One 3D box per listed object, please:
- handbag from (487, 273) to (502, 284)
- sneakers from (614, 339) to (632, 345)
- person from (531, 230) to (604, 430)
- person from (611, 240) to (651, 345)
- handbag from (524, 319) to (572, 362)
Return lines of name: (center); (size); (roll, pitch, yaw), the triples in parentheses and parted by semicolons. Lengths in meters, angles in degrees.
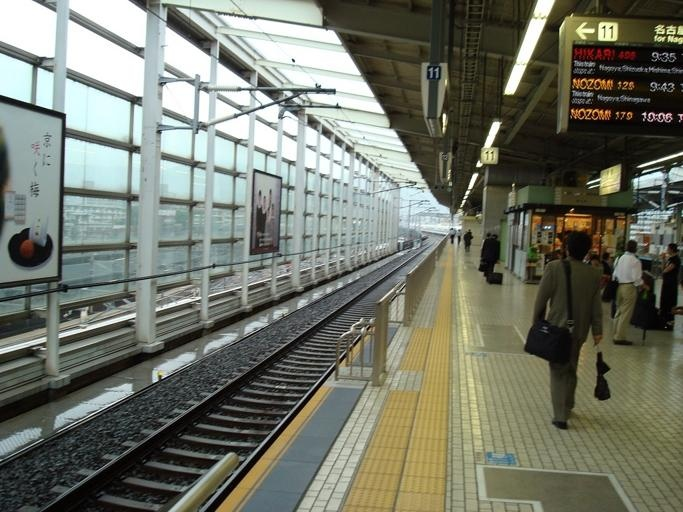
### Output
handbag: (6.215, 0.897, 19.175); (0.538, 0.461, 0.439); (2, 5, 11)
sneakers: (5.699, 1.731, 9.575); (0.396, 0.142, 0.123); (-1, 2, 8)
person: (2.623, 0.863, 5.556); (0.753, 2.295, 0.595); (3, 5, 16)
person: (5.834, 0.717, 9.708); (0.550, 2.103, 1.063); (5, 6, 32)
handbag: (2.337, 0.980, 5.363); (0.472, 0.487, 0.280); (3, 5, 23)
